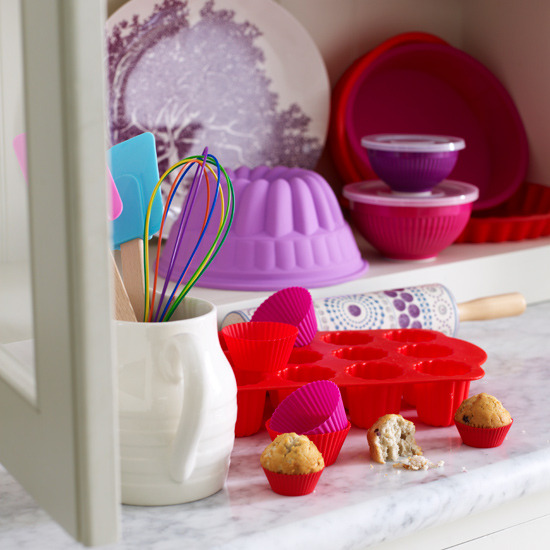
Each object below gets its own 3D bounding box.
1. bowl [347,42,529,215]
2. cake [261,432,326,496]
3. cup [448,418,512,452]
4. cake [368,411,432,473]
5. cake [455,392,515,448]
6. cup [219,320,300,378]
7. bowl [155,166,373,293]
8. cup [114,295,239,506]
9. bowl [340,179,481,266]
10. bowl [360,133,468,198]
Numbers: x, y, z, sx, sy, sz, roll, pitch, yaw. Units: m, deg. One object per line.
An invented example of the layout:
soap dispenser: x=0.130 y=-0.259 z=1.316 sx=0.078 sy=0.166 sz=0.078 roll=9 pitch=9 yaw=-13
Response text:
bowl: x=0.301 y=-0.258 z=1.159 sx=0.295 sy=0.294 sz=0.071 roll=1 pitch=10 yaw=-3
cake: x=0.012 y=0.127 z=0.412 sx=0.042 sy=0.035 sz=0.041 roll=-1 pitch=5 yaw=-22
cup: x=0.164 y=0.123 z=0.477 sx=0.041 sy=0.029 sz=0.026 roll=6 pitch=24 yaw=11
cake: x=0.092 y=0.129 z=0.464 sx=0.045 sy=0.016 sz=0.040 roll=-24 pitch=44 yaw=-24
cake: x=0.166 y=0.112 z=0.483 sx=0.047 sy=0.040 sz=0.042 roll=-11 pitch=15 yaw=-27
cup: x=-0.008 y=0.067 z=0.529 sx=0.060 sy=0.039 sz=0.059 roll=0 pitch=16 yaw=0
bowl: x=-0.018 y=-0.065 z=0.886 sx=0.299 sy=0.154 sz=0.313 roll=-3 pitch=6 yaw=0
cup: x=-0.072 y=0.087 z=0.412 sx=0.096 sy=0.121 sz=0.133 roll=-2 pitch=4 yaw=-19
bowl: x=0.211 y=-0.088 z=0.917 sx=0.190 sy=0.093 sz=0.182 roll=-2 pitch=18 yaw=1
bowl: x=0.201 y=-0.162 z=0.890 sx=0.197 sy=0.077 sz=0.194 roll=0 pitch=16 yaw=0
